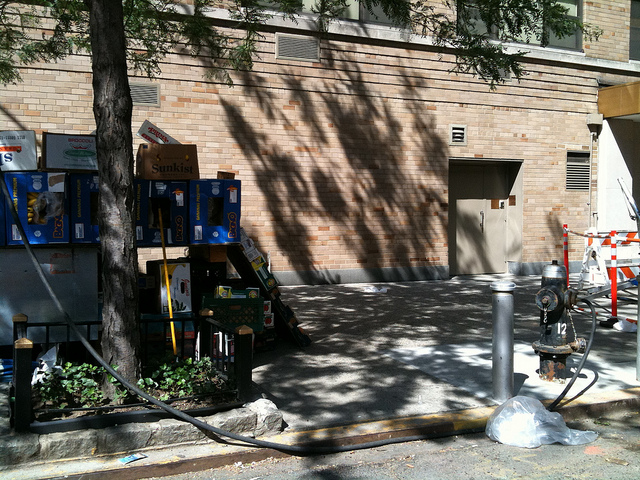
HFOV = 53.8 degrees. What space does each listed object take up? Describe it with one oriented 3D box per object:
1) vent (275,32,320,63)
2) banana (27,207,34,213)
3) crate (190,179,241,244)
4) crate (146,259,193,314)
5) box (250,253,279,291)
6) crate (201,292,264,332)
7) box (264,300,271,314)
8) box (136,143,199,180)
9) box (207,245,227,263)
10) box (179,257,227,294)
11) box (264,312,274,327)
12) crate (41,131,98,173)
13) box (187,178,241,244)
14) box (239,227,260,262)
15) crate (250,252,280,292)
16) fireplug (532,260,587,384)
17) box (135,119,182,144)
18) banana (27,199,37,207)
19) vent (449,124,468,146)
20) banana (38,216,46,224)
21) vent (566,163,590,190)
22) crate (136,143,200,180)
[{"bbox_3d":[-0.568,-4.702,15.559,1.106,0.630,0.150,0,8,-15],"label":"vent"},{"bbox_3d":[-4.011,-0.412,8.760,0.075,0.074,0.020,9,-4,-21],"label":"banana"},{"bbox_3d":[-1.614,-0.426,9.656,0.671,1.023,0.575,2,5,-23],"label":"crate"},{"bbox_3d":[-2.290,0.685,9.779,0.582,0.787,0.749,-1,9,-17],"label":"crate"},{"bbox_3d":[-0.912,0.531,10.138,0.320,0.581,0.131,-32,4,-15],"label":"box"},{"bbox_3d":[-1.324,1.144,9.678,0.652,0.410,0.671,2,-2,-14],"label":"crate"},{"bbox_3d":[-0.839,1.064,10.099,0.155,0.171,0.166,-1,1,9],"label":"box"},{"bbox_3d":[-2.373,-1.178,9.739,0.817,0.614,0.653,2,3,-34],"label":"box"},{"bbox_3d":[-1.590,0.214,9.809,0.236,0.264,0.254,-1,0,-7],"label":"box"},{"bbox_3d":[-1.953,0.579,10.467,0.632,0.650,0.595,-1,2,-45],"label":"box"},{"bbox_3d":[-0.809,1.263,10.006,0.157,0.194,0.119,0,9,-15],"label":"box"},{"bbox_3d":[-3.593,-1.227,9.333,0.803,0.606,0.451,0,-9,-12],"label":"crate"},{"bbox_3d":[-1.688,-0.497,9.900,0.696,1.041,0.595,2,5,-23],"label":"box"},{"bbox_3d":[-1.149,-0.003,10.378,0.312,0.531,1.228,1,9,-6],"label":"box"},{"bbox_3d":[-0.920,0.517,10.127,0.339,0.571,0.140,-17,-2,-16],"label":"crate"},{"bbox_3d":[3.236,1.127,8.632,0.518,1.547,0.559,8,10,36],"label":"fireplug"},{"bbox_3d":[-2.624,-1.738,10.211,0.688,0.361,0.551,10,12,42],"label":"box"},{"bbox_3d":[-3.998,-0.516,8.777,0.080,0.022,0.081,-38,-13,10],"label":"banana"},{"bbox_3d":[3.737,-2.867,17.262,0.561,0.607,0.116,0,9,-7],"label":"vent"},{"bbox_3d":[-3.855,-0.272,8.776,0.070,0.097,0.049,9,-11,-16],"label":"banana"},{"bbox_3d":[7.687,-1.890,18.855,0.765,0.743,0.181,3,-2,-14],"label":"vent"},{"bbox_3d":[-2.302,-1.174,9.579,0.850,0.525,0.370,1,8,-6],"label":"crate"}]
